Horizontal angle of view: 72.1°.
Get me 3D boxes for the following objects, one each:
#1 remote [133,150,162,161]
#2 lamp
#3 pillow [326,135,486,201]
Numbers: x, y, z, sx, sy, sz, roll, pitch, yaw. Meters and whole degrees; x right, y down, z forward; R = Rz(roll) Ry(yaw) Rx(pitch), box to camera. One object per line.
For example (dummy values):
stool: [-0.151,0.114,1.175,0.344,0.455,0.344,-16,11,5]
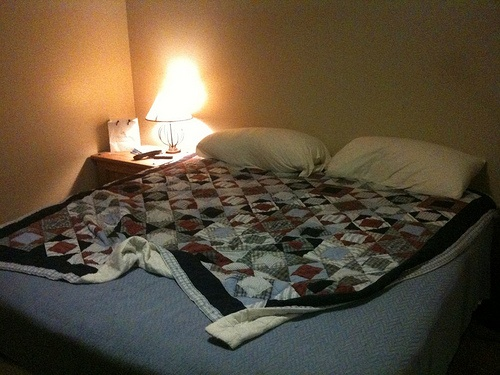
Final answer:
remote: [-0.882,-0.267,2.953,0.083,0.061,0.295,2,8,38]
lamp: [-0.711,-0.541,3.072,0.426,0.384,0.381,-8,18,-25]
pillow: [1.002,-0.186,2.259,0.853,0.192,0.462,21,47,39]
